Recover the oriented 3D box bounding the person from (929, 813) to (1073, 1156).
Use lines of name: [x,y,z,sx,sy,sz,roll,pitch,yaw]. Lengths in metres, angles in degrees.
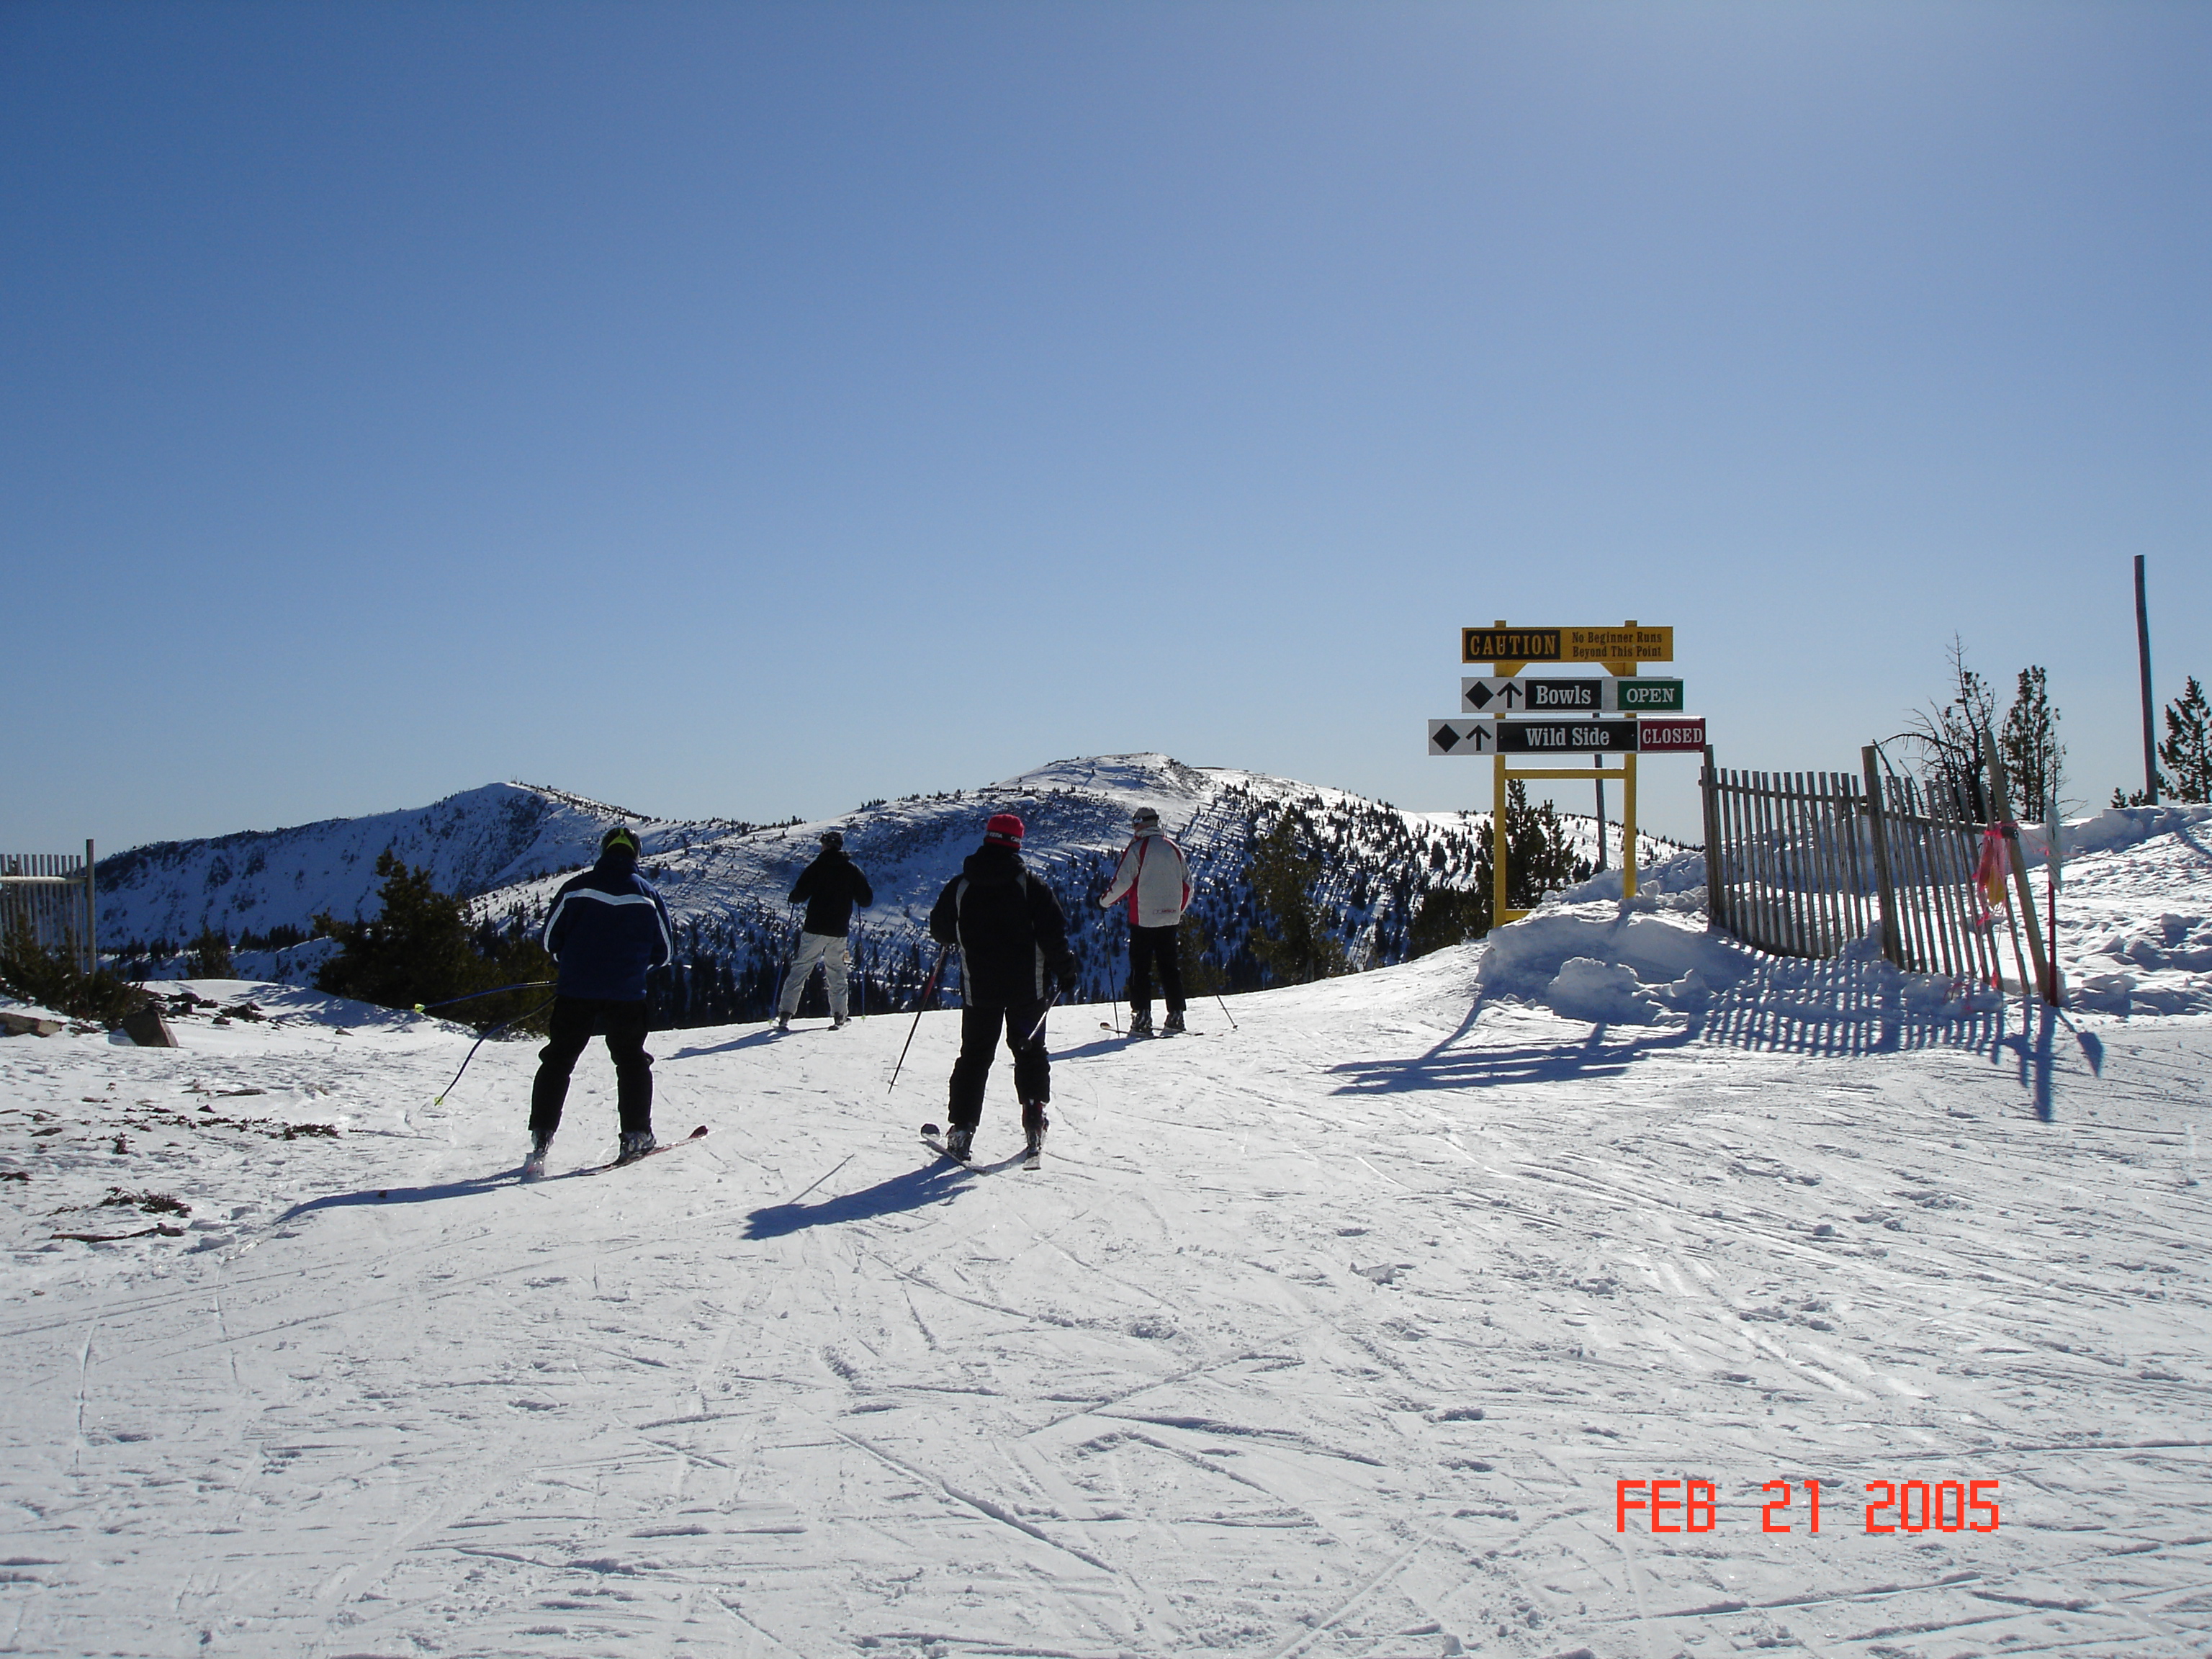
person: [-0.786,1.136,11.752,0.991,2.478,1.028,-1,3,-7]
